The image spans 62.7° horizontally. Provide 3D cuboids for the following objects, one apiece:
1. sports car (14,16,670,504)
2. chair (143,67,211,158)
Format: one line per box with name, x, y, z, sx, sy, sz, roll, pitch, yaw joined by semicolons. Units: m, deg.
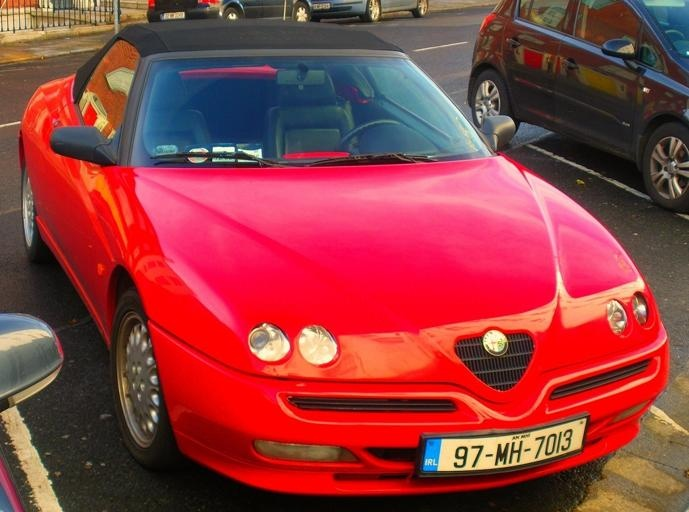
sports car;-0.209;-0.239;3.291;2.498;1.896;3.457;-17;30;-30
chair;-1.066;-0.885;3.505;0.321;0.144;0.600;-1;65;-15
